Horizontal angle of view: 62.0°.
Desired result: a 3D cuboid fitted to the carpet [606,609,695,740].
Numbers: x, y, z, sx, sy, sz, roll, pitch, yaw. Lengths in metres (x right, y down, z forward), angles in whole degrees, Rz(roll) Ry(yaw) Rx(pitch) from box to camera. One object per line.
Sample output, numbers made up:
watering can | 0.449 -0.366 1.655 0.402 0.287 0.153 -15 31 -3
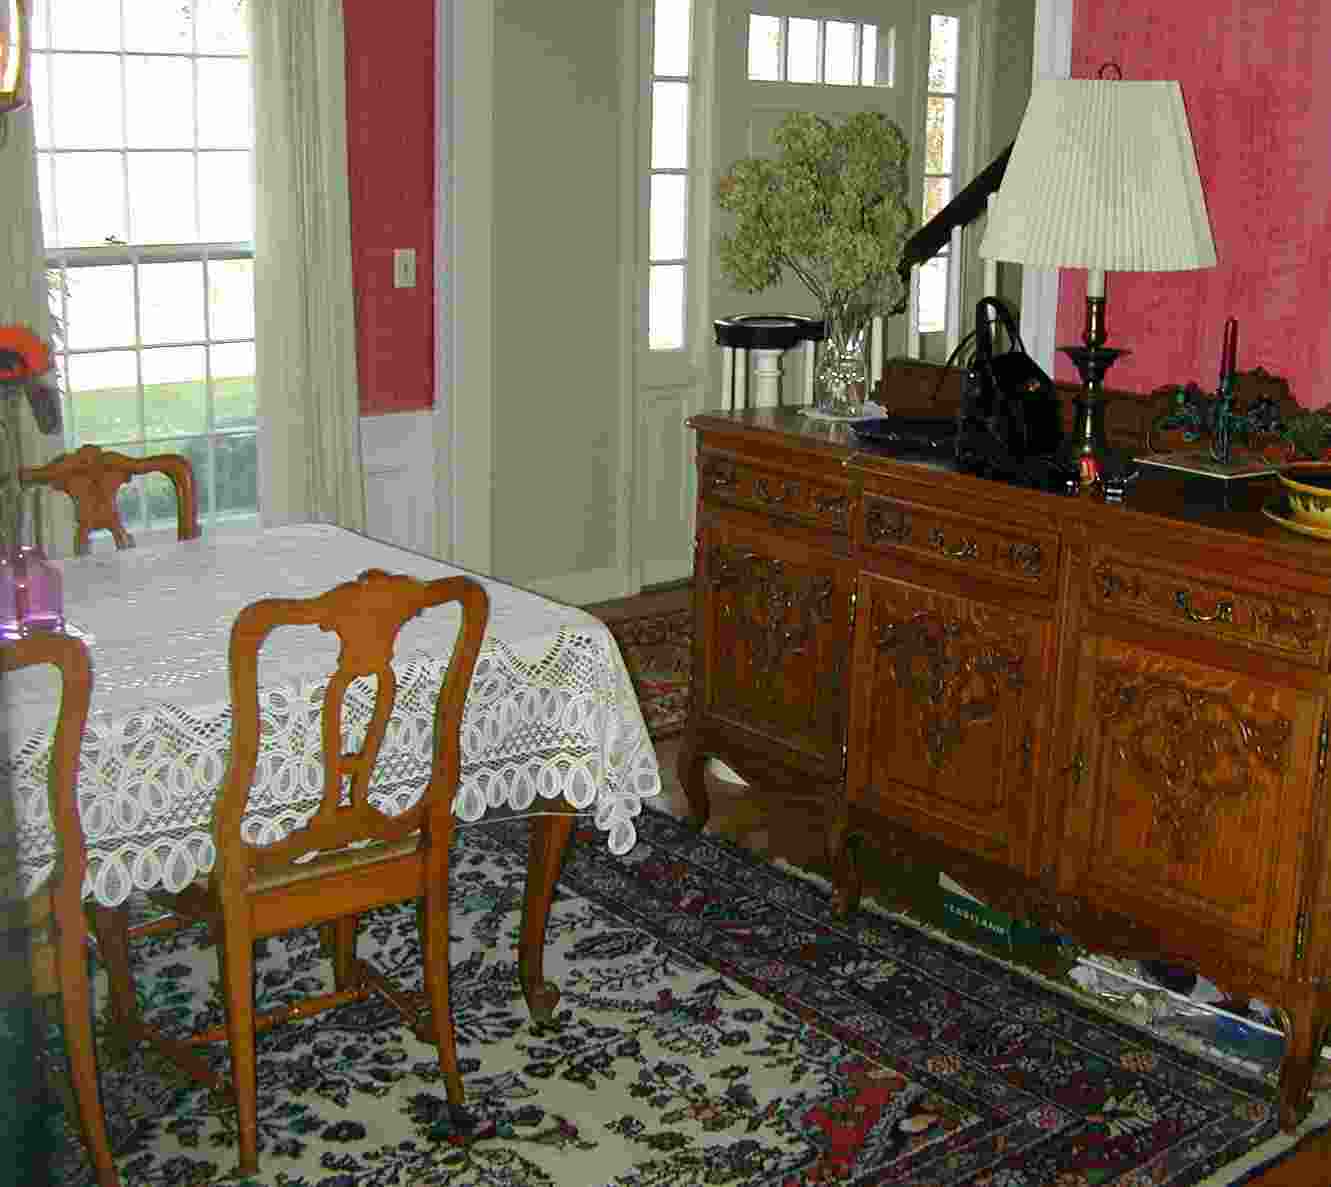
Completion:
carpet | -0.026 0.344 4.840 0.321 0.125 0.456 -15 28 9

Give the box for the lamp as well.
lamp | 0.991 -0.721 2.586 0.506 0.912 0.299 5 14 15
